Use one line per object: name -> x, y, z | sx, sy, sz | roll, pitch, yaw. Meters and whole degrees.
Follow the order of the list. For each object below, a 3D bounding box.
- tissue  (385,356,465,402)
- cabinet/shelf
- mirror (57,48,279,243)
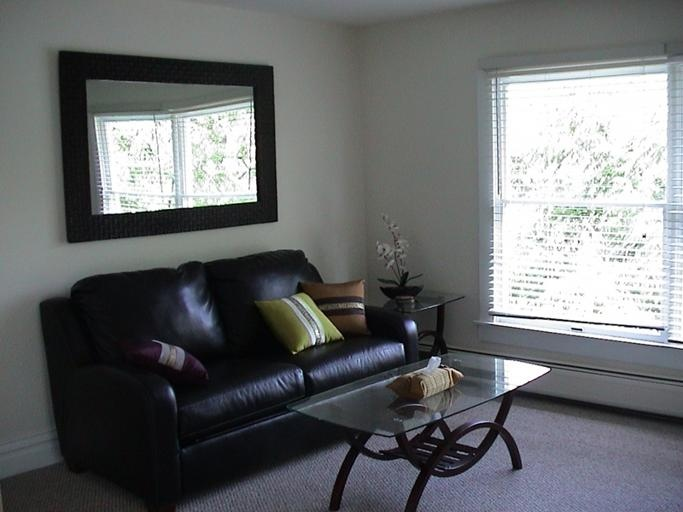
tissue  -> 0.432, 0.711, 2.853 | 0.194, 0.119, 0.300 | 3, 7, 41
cabinet/shelf -> 0.727, 0.621, 4.600 | 0.546, 0.496, 0.581 | -9, -8, 32
mirror -> -1.316, -0.818, 3.797 | 1.364, 1.150, 0.027 | -10, 10, -42
